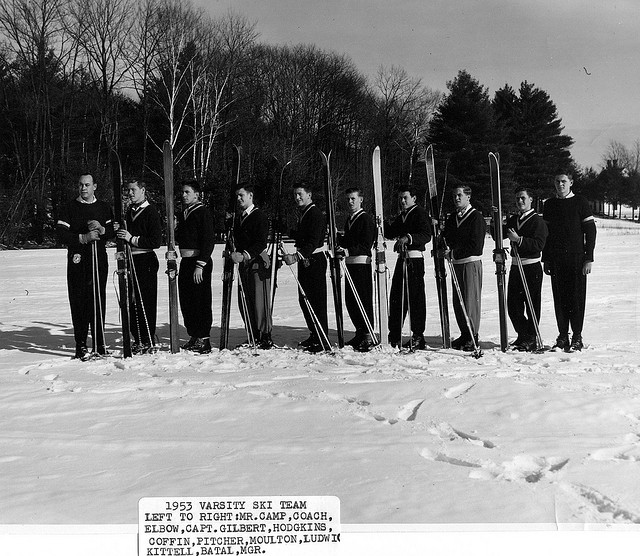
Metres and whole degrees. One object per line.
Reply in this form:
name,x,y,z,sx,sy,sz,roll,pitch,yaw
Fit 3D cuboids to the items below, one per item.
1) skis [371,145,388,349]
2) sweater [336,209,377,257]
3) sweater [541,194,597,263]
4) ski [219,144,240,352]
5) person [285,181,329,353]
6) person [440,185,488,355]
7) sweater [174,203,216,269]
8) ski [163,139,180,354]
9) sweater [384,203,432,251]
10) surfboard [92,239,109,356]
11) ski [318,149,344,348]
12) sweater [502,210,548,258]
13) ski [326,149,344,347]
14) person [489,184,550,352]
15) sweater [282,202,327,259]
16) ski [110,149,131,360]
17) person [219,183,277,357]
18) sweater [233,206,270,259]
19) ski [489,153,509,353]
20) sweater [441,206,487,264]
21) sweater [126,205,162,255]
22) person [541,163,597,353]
skis,0.682,-0.383,8.382,0.145,2.309,0.230,0,-3,-26
sweater,0.370,-0.473,8.465,0.366,0.598,0.542,0,1,-32
sweater,2.659,-0.521,8.226,0.557,0.812,0.317,-2,-15,29
ski,-1.075,-0.130,8.506,0.160,2.711,0.210,3,0,3
person,-0.142,-0.118,8.292,0.411,1.809,0.424,-1,8,0
person,1.541,-0.117,8.320,0.486,1.770,0.877,1,9,9
sweater,-1.392,-0.462,8.344,0.455,0.665,0.317,1,9,10
ski,-1.626,-0.314,8.180,0.177,2.506,0.156,-1,-2,-5
sweater,0.960,-0.554,8.647,0.441,0.603,0.798,2,3,-33
surfboard,-2.335,0.201,8.019,0.111,1.212,0.162,-2,-3,-14
ski,0.113,-0.357,8.348,0.236,2.519,0.203,-3,2,-2
sweater,2.239,-0.518,8.399,0.334,0.536,0.587,-4,15,-33
ski,0.165,-0.222,8.347,0.220,2.361,0.160,1,0,-26
person,2.222,-0.103,8.309,0.478,1.718,0.651,3,9,21
sweater,-0.166,-0.450,8.452,0.369,0.833,0.546,-4,5,-23
ski,-2.087,-0.233,7.956,0.203,2.306,0.163,1,2,33
person,-0.761,-0.096,8.440,0.572,1.885,0.988,-2,9,-7
sweater,-0.774,-0.486,8.347,0.257,0.495,0.501,3,0,-32
ski,1.898,-0.318,8.293,0.179,2.648,0.258,-4,-5,42
sweater,1.587,-0.477,8.547,0.364,0.679,0.603,9,-3,-40
sweater,-1.984,-0.550,8.330,0.508,0.586,0.293,-7,-15,40
person,2.675,-0.175,8.255,0.536,1.949,0.642,2,9,19
